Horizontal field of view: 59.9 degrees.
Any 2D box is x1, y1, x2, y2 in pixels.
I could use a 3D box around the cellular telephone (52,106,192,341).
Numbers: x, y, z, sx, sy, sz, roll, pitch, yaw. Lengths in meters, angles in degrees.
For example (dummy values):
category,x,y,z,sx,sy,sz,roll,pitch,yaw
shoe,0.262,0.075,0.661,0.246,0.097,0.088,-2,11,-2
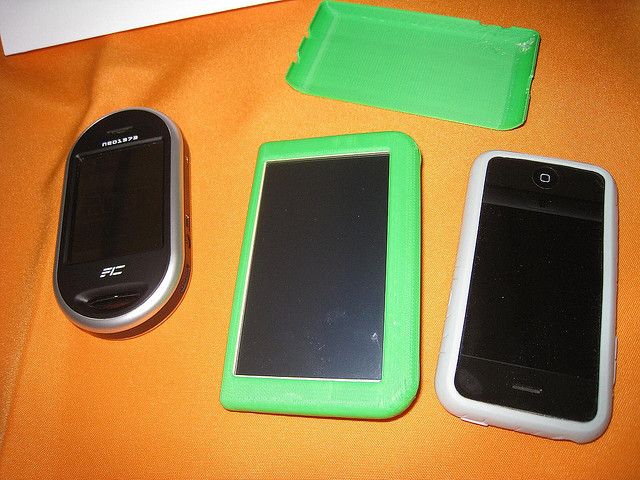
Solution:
category,x,y,z,sx,sy,sz,roll,pitch,yaw
cellular telephone,-0.237,-0.019,0.682,0.140,0.054,0.263,0,54,-17
